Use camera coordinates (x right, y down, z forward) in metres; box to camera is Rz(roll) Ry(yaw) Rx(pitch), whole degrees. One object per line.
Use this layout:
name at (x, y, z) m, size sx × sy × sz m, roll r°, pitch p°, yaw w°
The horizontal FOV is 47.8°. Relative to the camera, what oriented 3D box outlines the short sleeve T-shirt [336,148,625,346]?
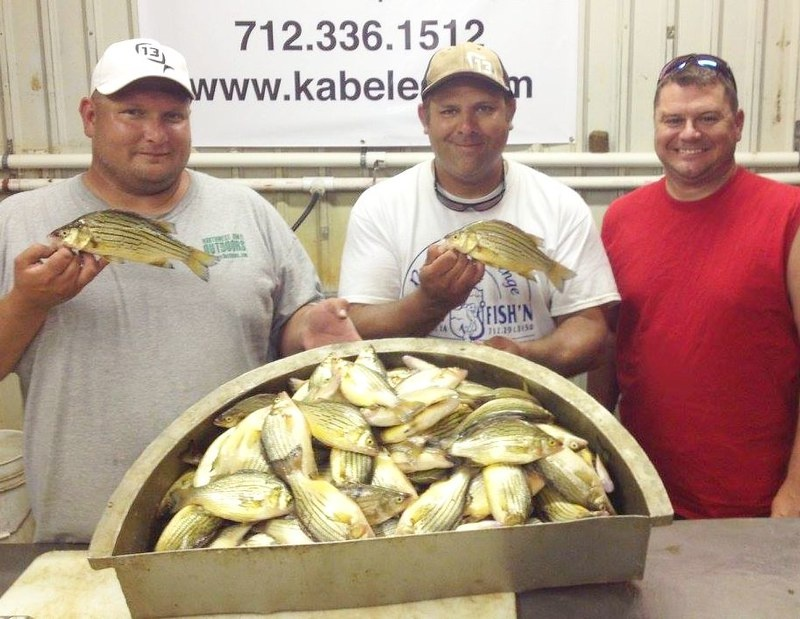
short sleeve T-shirt at (0.334, -0.255, 3.922) m, size 1.090 × 0.839 × 0.406 m, roll -2°, pitch 7°, yaw 1°
